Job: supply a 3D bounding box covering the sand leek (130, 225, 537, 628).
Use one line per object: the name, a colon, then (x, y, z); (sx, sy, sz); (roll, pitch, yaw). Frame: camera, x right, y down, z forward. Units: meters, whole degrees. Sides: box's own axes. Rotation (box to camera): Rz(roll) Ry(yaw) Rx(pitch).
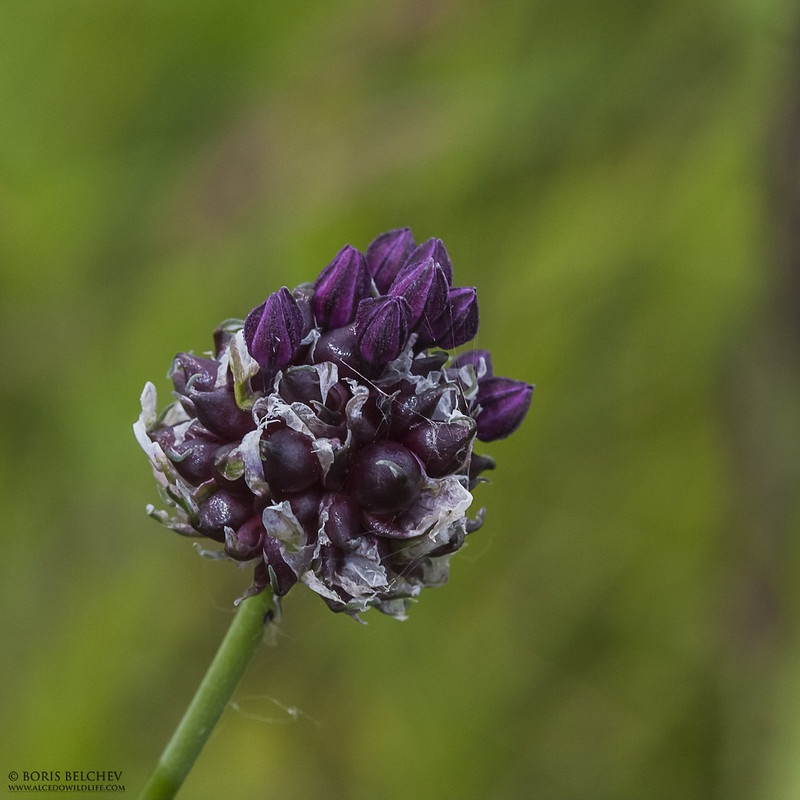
sand leek: (-0.148, 0.037, 2.082); (0.672, 0.592, 0.826); (-19, -56, -44)
